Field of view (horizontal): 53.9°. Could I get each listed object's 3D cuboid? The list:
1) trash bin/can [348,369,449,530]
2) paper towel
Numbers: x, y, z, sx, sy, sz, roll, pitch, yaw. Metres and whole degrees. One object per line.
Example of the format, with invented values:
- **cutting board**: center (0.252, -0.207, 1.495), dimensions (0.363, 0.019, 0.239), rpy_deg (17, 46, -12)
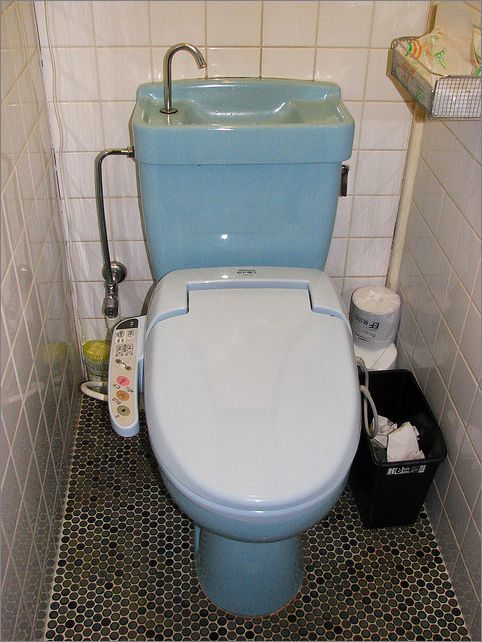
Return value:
- **trash bin/can**: center (0.308, 0.254, 1.058), dimensions (0.137, 0.323, 0.305), rpy_deg (-1, 32, -4)
- **paper towel**: center (0.338, -0.008, 1.204), dimensions (0.111, 0.163, 0.142), rpy_deg (11, 43, 19)
